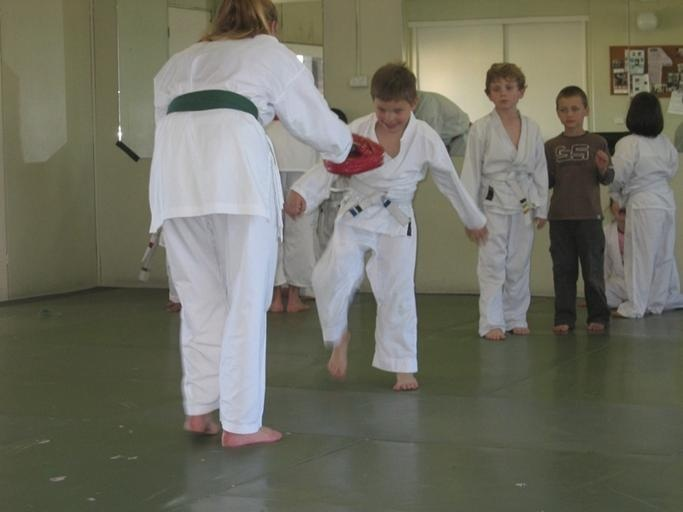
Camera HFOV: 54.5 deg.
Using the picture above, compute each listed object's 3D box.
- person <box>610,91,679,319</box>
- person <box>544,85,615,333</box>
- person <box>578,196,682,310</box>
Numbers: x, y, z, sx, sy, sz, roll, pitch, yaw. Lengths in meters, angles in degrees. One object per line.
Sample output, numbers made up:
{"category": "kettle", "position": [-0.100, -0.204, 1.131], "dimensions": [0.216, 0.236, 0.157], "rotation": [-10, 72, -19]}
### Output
{"category": "person", "position": [2.281, -0.375, 4.979], "dimensions": [0.501, 1.654, 0.409], "rotation": [2, 9, 15]}
{"category": "person", "position": [1.619, -0.200, 4.508], "dimensions": [0.443, 1.374, 0.446], "rotation": [1, 8, 12]}
{"category": "person", "position": [2.146, -0.008, 4.937], "dimensions": [0.713, 0.851, 0.493], "rotation": [-7, 4, 22]}
